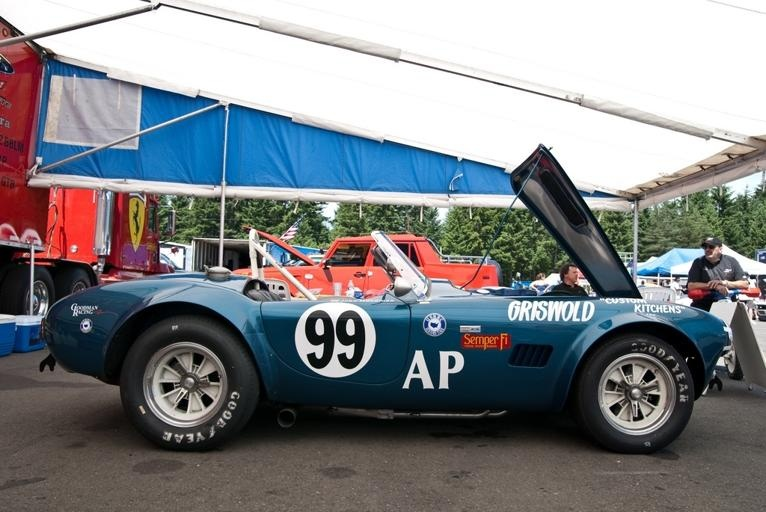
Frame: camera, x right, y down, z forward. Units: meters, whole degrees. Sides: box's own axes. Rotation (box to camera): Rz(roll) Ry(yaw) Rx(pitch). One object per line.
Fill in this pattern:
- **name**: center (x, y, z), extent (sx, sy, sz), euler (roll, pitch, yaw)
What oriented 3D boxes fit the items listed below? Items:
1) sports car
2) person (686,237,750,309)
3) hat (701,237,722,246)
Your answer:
- **sports car**: center (-0.106, 0.313, 6.924), extent (6.241, 2.697, 2.844), euler (-1, -2, -2)
- **person**: center (4.807, 0.441, 8.976), extent (0.761, 1.374, 0.649), euler (-1, 4, 20)
- **hat**: center (4.773, -0.234, 9.000), extent (0.275, 0.138, 0.179), euler (6, -12, -31)
